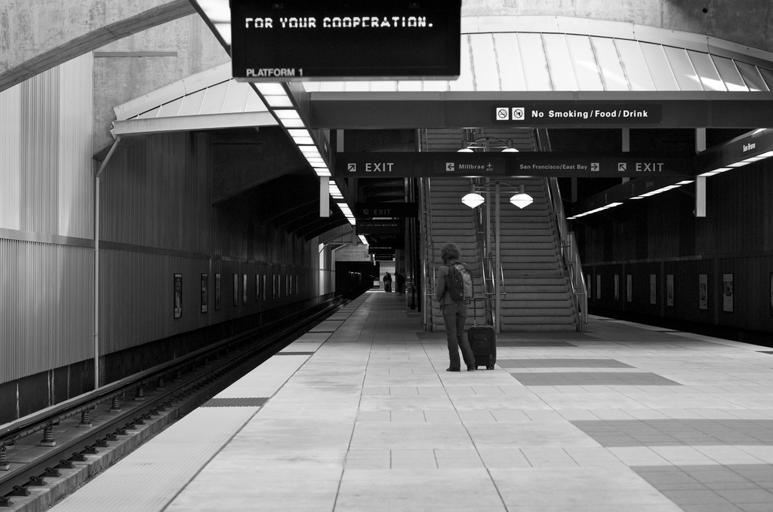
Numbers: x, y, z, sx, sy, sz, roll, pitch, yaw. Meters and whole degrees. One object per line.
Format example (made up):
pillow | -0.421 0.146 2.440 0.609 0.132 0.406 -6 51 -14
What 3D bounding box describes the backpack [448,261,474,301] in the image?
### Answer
backpack | 1.285 0.456 12.569 0.400 0.586 0.259 0 0 7
